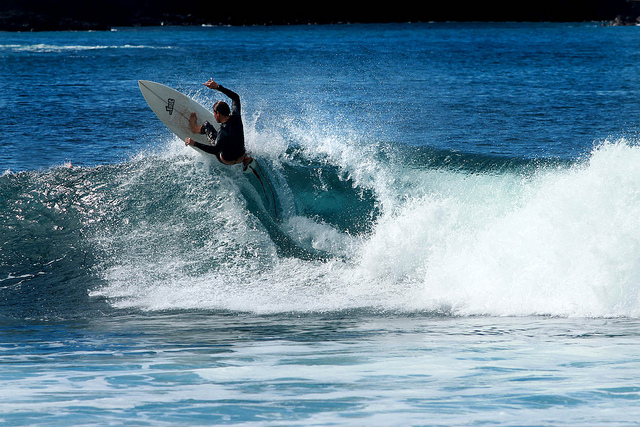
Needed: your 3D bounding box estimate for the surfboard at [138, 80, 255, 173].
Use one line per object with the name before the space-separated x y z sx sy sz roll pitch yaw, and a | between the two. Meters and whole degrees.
surfboard | -4.079 -2.890 26.721 0.688 1.102 5.581 15 -8 12
